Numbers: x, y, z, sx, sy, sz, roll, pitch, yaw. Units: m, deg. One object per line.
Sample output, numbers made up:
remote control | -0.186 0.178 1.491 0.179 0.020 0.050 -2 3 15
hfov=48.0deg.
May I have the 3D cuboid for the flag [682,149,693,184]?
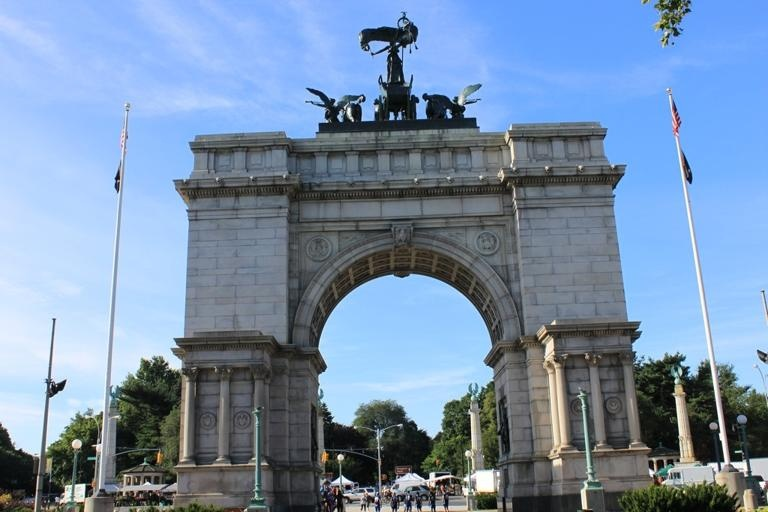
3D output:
flag | 19.359 -5.693 55.210 0.367 2.083 2.248 -8 -18 16
